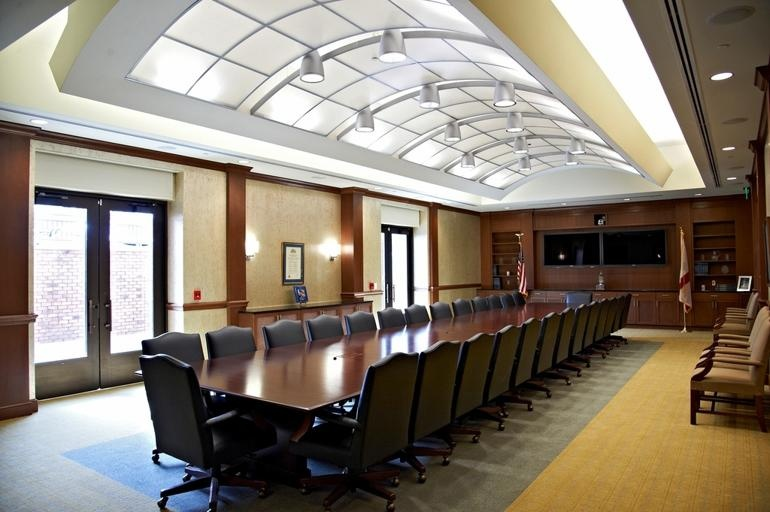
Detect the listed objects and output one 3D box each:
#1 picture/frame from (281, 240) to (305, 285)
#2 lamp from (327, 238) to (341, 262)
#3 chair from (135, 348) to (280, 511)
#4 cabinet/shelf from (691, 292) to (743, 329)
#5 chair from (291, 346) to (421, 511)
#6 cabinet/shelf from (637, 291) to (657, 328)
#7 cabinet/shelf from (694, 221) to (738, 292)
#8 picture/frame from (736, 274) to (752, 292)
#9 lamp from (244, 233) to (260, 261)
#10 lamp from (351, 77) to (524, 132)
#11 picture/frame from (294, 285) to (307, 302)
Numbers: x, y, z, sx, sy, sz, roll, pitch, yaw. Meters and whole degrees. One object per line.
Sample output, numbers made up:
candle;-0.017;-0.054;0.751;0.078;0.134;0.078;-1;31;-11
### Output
picture/frame;-1.914;0.144;9.992;0.157;0.899;0.645;5;10;33
lamp;-1.184;-0.132;10.851;0.297;0.509;0.542;-3;-2;25
chair;-1.827;1.710;5.290;1.418;1.792;1.537;-1;-3;35
cabinet/shelf;8.506;1.356;12.542;1.125;0.981;0.455;-2;1;11
chair;-0.192;1.736;5.306;1.422;1.793;1.483;-3;-6;32
cabinet/shelf;7.077;1.431;13.036;0.537;0.864;0.213;2;9;23
cabinet/shelf;8.691;-0.019;12.718;1.044;1.799;0.536;3;10;28
picture/frame;8.936;0.696;11.980;0.286;0.368;0.335;6;10;40
lamp;-2.554;-0.176;9.216;0.156;0.527;0.461;3;9;27
lamp;0.822;-2.486;7.931;2.512;0.754;0.952;1;8;15
picture/frame;-1.750;0.767;9.799;0.149;0.366;0.320;-26;-16;37
